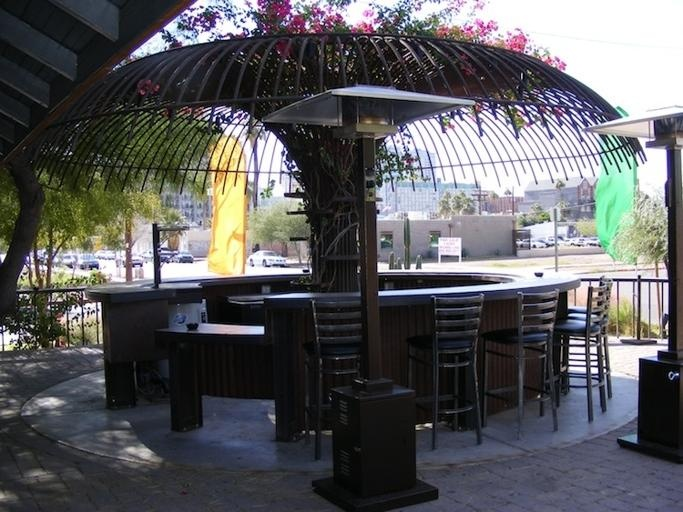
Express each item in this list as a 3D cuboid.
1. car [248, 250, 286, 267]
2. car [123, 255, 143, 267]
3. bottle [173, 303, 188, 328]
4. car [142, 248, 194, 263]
[{"bbox_3d":[-5.933,0.161,49.518,1.311,1.031,3.063,-1,7,-32],"label":"car"},{"bbox_3d":[-13.285,0.275,41.289,0.841,0.748,1.827,0,-4,-30],"label":"car"},{"bbox_3d":[-2.099,0.751,8.405,0.163,0.228,0.366,-3,6,-14],"label":"bottle"},{"bbox_3d":[-11.897,-0.097,44.896,2.580,0.992,1.222,-6,-4,38],"label":"car"}]
